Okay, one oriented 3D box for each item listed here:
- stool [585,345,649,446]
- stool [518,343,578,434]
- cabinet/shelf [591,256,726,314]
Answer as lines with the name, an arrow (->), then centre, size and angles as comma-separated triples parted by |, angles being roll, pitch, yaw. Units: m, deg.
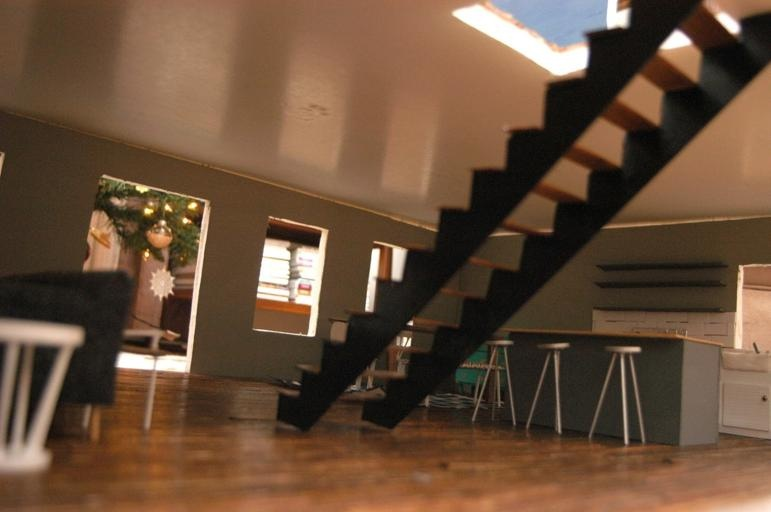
stool -> 2.517, 1.488, 6.251 | 0.596, 1.045, 0.753 | 2, -12, 24
stool -> 1.889, 1.515, 6.714 | 0.457, 1.023, 0.710 | 4, -11, 15
cabinet/shelf -> 4.498, 0.508, 9.479 | 1.984, 0.813, 0.304 | -3, -14, 38
